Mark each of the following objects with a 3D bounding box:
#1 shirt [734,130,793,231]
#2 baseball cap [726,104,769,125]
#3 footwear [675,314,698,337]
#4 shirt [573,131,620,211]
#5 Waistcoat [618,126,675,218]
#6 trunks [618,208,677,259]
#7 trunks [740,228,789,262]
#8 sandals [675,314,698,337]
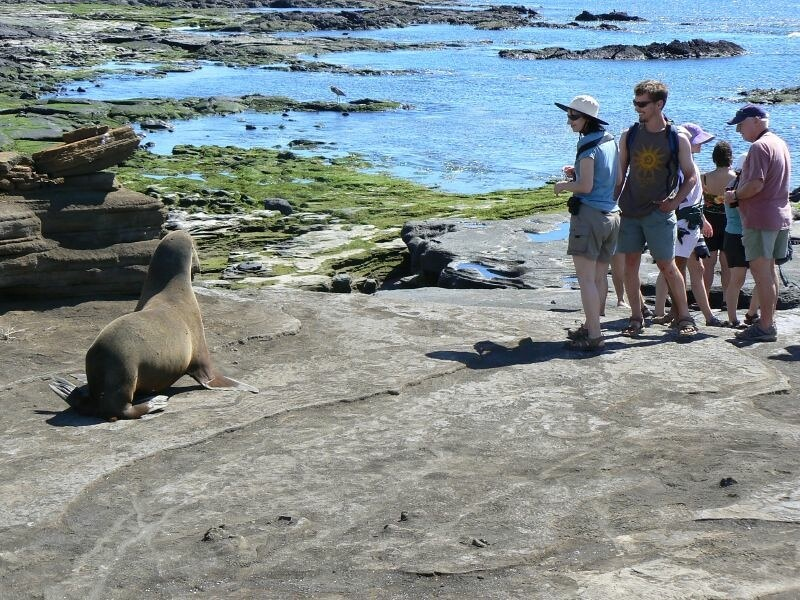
[{"bbox_3d":[3.110,-1.016,7.479,0.434,0.841,0.408,3,20,17],"label":"shirt"},{"bbox_3d":[2.975,-1.586,7.536,0.424,0.125,0.201,1,18,18],"label":"baseball cap"},{"bbox_3d":[2.484,0.228,7.666,0.330,0.181,0.675,-2,-3,15],"label":"footwear"},{"bbox_3d":[1.608,-1.048,7.212,0.355,0.673,0.366,0,19,11],"label":"shirt"},{"bbox_3d":[2.098,-1.073,7.410,0.449,0.783,0.152,13,26,40],"label":"Waistcoat"},{"bbox_3d":[2.219,-0.599,7.655,0.394,0.374,0.579,-1,8,-31],"label":"trunks"},{"bbox_3d":[3.134,-0.480,7.539,0.486,0.248,0.221,-5,14,-22],"label":"trunks"},{"bbox_3d":[2.484,0.228,7.666,0.330,0.181,0.675,-2,-3,15],"label":"sandals"}]
